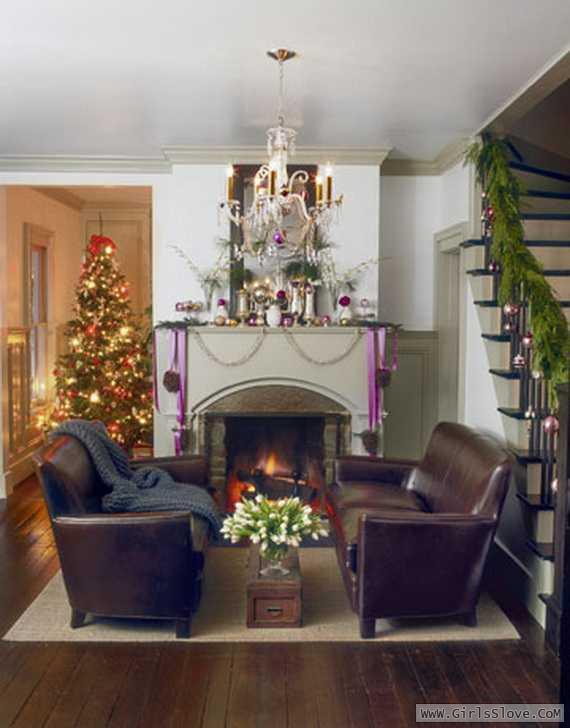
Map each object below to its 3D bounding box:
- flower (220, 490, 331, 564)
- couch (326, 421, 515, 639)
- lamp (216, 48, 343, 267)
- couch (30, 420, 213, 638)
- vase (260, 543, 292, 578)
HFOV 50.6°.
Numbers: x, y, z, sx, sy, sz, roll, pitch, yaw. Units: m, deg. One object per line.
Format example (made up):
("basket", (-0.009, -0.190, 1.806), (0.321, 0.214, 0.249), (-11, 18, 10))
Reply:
("flower", (-0.083, 0.752, 3.052), (0.615, 0.436, 0.625), (1, -5, -2))
("couch", (0.681, 0.800, 3.216), (0.798, 0.844, 1.078), (0, 3, -1))
("lamp", (-0.030, -1.308, 3.720), (0.960, 1.521, 0.867), (0, 1, -3))
("couch", (-0.833, 0.855, 3.421), (0.781, 0.787, 1.526), (1, 1, -4))
("vase", (-0.049, 0.924, 2.928), (0.145, 0.161, 0.158), (1, -2, -33))
